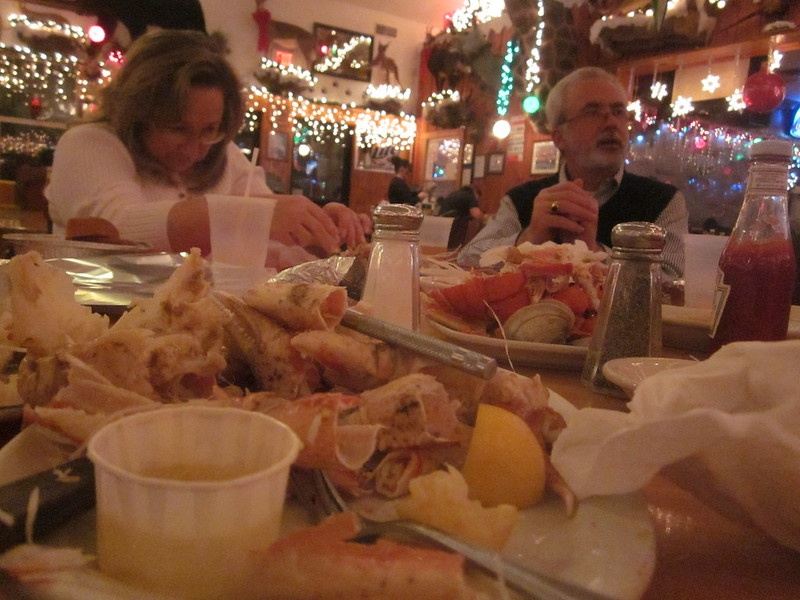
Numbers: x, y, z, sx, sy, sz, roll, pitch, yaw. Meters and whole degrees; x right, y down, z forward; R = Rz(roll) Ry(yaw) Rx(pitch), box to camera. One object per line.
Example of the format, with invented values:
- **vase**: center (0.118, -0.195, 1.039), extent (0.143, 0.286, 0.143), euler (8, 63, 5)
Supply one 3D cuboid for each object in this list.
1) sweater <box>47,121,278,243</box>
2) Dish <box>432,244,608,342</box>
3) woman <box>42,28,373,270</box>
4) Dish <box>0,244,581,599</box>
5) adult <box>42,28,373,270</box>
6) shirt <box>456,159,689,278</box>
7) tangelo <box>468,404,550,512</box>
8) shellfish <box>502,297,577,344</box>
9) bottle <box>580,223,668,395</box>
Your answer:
- **sweater**: center (-0.837, -0.429, 2.218), extent (0.858, 0.416, 0.976), euler (-3, 13, -31)
- **Dish**: center (0.179, 0.021, 0.990), extent (0.209, 0.045, 0.219), euler (-3, 19, 33)
- **woman**: center (-0.767, -0.510, 2.291), extent (1.253, 0.957, 0.924), euler (7, 7, 22)
- **Dish**: center (-0.124, 0.034, 0.496), extent (0.352, 0.127, 0.259), euler (17, 8, 10)
- **adult**: center (-0.756, -0.503, 2.283), extent (1.271, 0.933, 0.911), euler (4, 3, 21)
- **shirt**: center (0.850, -0.380, 2.552), extent (0.666, 0.266, 0.891), euler (13, 17, 36)
- **tangelo**: center (0.082, 0.122, 0.459), extent (0.062, 0.070, 0.035), euler (6, 12, 8)
- **shellfish**: center (0.221, 0.035, 0.897), extent (0.112, 0.032, 0.106), euler (1, -20, -1)
- **bottle**: center (0.295, 0.009, 0.748), extent (0.092, 0.213, 0.122), euler (5, 12, 7)
